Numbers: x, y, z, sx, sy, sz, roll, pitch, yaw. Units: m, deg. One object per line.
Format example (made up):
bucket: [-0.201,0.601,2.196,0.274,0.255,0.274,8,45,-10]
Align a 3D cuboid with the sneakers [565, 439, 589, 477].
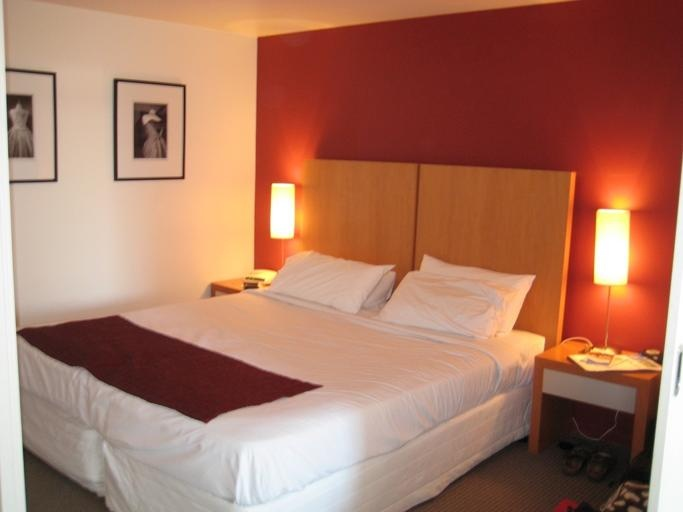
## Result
sneakers: [1.535,1.315,3.571,0.096,0.090,0.255,7,13,30]

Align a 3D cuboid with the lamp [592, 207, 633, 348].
lamp: [1.804,0.165,3.702,0.241,0.960,0.286,9,15,30]

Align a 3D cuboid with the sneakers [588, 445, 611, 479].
sneakers: [1.648,1.326,3.496,0.102,0.050,0.196,6,24,35]
